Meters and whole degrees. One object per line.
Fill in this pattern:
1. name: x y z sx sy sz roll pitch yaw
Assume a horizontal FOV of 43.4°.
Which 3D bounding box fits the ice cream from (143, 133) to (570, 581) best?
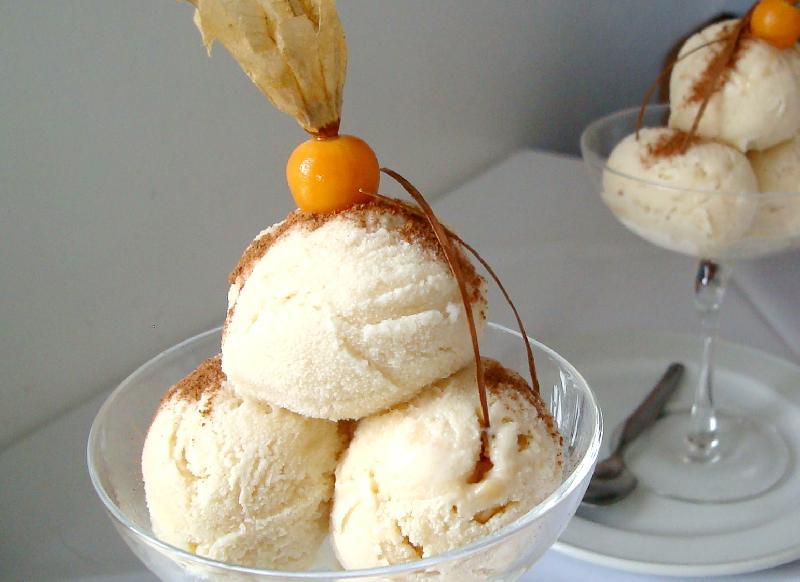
1. ice cream: -0.064 0.078 1.322 0.528 0.559 0.332 0 11 13
